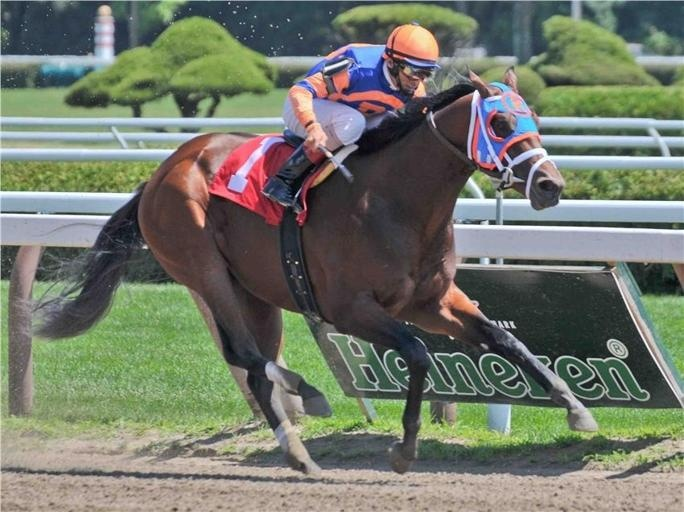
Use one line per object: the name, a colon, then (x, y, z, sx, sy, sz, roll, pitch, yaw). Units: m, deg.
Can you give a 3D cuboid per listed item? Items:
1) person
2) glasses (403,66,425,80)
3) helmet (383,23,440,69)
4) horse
person: (0.061, -0.896, 9.356, 1.164, 1.083, 0.456, -3, 18, -6)
glasses: (0.452, -1.145, 9.258, 0.074, 0.039, 0.100, 8, 28, -42)
helmet: (0.415, -1.309, 9.297, 0.309, 0.174, 0.261, 28, 25, 38)
horse: (-0.056, 0.109, 9.411, 3.236, 2.504, 0.881, 3, 19, 11)
